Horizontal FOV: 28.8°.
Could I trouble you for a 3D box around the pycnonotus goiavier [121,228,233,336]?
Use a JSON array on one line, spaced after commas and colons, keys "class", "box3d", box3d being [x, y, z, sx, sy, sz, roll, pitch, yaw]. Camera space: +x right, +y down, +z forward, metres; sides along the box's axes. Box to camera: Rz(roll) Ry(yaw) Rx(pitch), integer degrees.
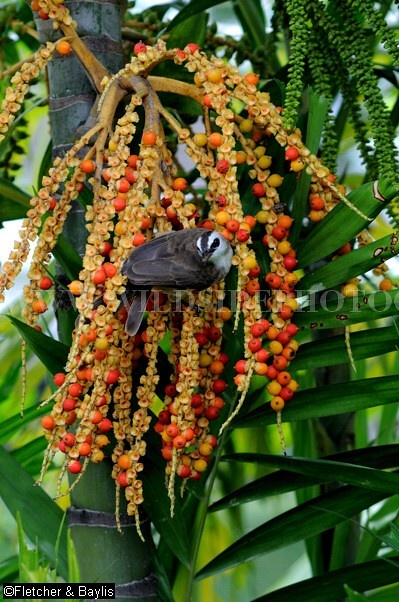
[{"class": "pycnonotus goiavier", "box3d": [-0.030, -0.037, 0.864, 0.130, 0.084, 0.073, -12, 44, -11]}]
